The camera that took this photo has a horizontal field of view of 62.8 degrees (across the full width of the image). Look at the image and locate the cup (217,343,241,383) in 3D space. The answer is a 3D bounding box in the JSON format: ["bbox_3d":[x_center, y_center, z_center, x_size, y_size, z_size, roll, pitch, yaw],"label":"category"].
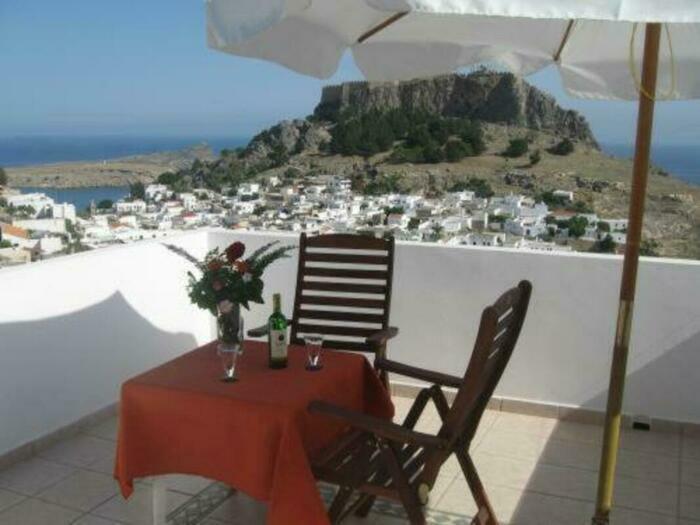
[{"bbox_3d":[-0.507,0.416,2.414,0.119,0.200,0.127,1,4,0],"label":"cup"}]

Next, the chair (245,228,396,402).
[{"bbox_3d":[-0.019,0.197,3.672,0.906,1.512,1.025,1,1,12],"label":"chair"}]

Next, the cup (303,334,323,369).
[{"bbox_3d":[-0.161,0.396,2.565,0.110,0.211,0.124,0,1,-3],"label":"cup"}]

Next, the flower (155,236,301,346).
[{"bbox_3d":[-0.536,0.147,2.825,0.470,0.529,0.540,0,-7,-18],"label":"flower"}]
